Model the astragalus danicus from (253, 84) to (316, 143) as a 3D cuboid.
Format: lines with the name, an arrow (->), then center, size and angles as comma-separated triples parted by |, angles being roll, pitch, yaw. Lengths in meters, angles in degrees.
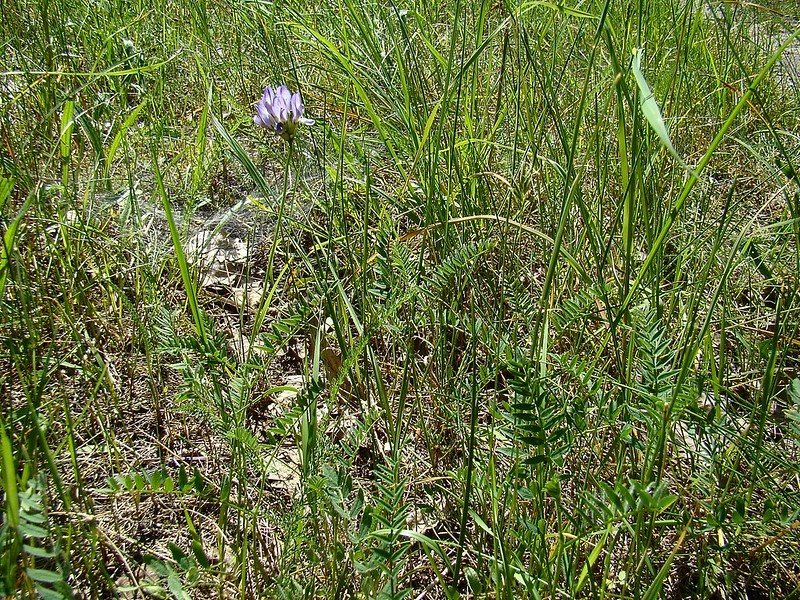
astragalus danicus -> -0.282, -0.467, 1.730 | 0.110, 0.167, 0.144 | -18, 27, -1
